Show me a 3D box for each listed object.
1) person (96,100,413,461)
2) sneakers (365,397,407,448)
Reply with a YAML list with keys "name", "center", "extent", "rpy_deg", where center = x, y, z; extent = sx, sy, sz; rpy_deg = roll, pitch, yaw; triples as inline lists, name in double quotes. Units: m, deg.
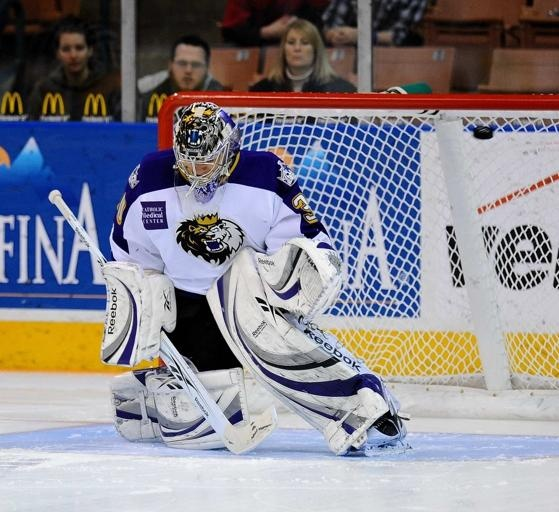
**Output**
- name: "person"
  center: [-0.132, 0.075, 3.182]
  extent: [1.170, 1.006, 0.773]
  rpy_deg: [-2, 9, 40]
- name: "sneakers"
  center: [0.336, 0.540, 3.151]
  extent: [0.081, 0.096, 0.212]
  rpy_deg: [2, 2, 9]
